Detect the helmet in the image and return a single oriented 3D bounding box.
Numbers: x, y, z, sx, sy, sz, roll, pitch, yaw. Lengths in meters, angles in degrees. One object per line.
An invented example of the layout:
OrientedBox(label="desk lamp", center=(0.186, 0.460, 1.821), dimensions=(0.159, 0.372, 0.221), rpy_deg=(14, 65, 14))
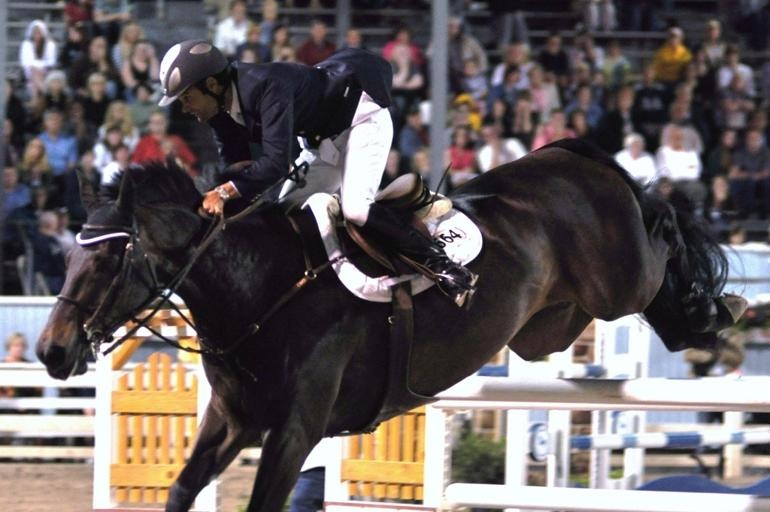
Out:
OrientedBox(label="helmet", center=(-1.396, -1.380, 14.884), dimensions=(0.549, 0.280, 0.386), rpy_deg=(-35, 25, -18))
